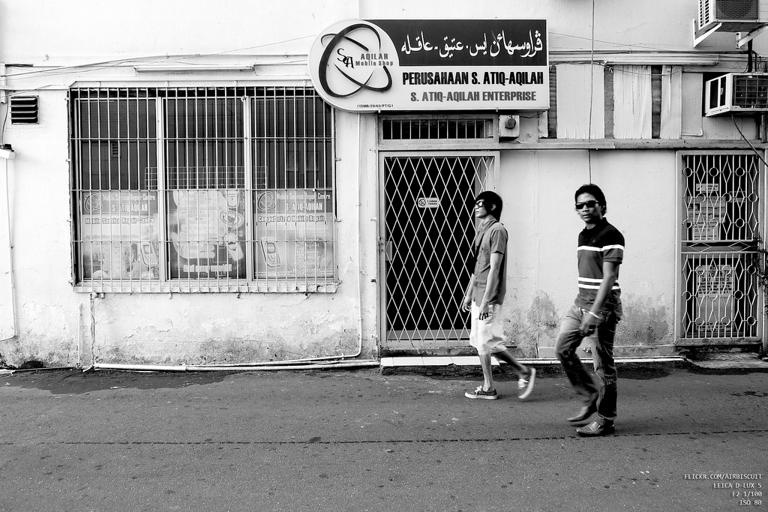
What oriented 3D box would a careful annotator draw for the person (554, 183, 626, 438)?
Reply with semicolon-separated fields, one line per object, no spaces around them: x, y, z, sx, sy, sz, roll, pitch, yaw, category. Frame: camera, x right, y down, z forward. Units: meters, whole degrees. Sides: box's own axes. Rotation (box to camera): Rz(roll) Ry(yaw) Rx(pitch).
2.419;0.626;9.840;0.738;2.784;0.864;-4;15;-13;person

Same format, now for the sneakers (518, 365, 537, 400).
1.830;1.630;10.816;0.180;0.463;0.168;5;3;-14;sneakers

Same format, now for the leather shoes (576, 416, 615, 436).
2.461;1.982;9.875;0.482;0.197;0.179;0;-1;-11;leather shoes

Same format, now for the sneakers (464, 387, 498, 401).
1.263;1.762;10.936;0.393;0.157;0.170;3;-6;7;sneakers

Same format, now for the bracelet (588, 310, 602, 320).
2.415;0.669;9.693;0.086;0.024;0.090;21;-14;48;bracelet

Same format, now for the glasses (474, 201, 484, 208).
1.210;-0.653;10.710;0.031;0.084;0.084;6;-9;-43;glasses
